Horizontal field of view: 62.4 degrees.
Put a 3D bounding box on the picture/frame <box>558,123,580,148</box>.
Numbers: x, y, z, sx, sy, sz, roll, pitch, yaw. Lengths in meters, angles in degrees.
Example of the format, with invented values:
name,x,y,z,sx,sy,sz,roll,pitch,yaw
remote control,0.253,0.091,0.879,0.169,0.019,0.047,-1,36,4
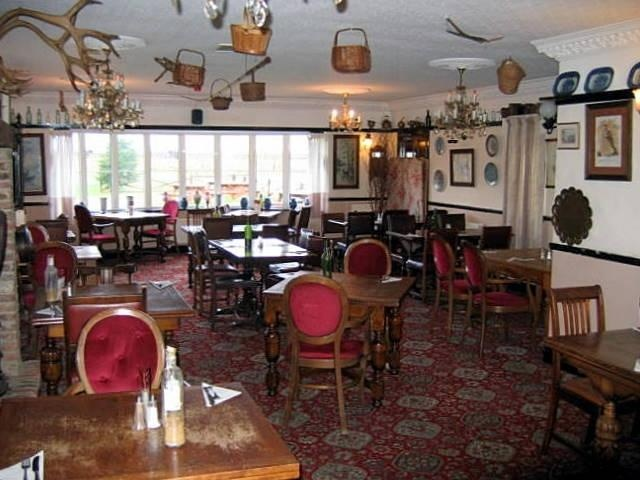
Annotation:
name,x,y,z,sx,sy,sz,roll,pitch,yaw
picture/frame,2.517,-1.059,5.340,0.033,0.299,0.274,-2,7,-33

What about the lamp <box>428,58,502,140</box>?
name,x,y,z,sx,sy,sz,roll,pitch,yaw
lamp,1.924,-1.857,7.159,0.869,1.009,0.877,9,18,38

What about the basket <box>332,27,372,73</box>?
name,x,y,z,sx,sy,sz,roll,pitch,yaw
basket,0.273,-1.599,4.496,0.348,0.343,0.334,-4,15,-18

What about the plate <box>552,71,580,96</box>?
name,x,y,z,sx,sy,sz,roll,pitch,yaw
plate,2.490,-1.589,5.366,0.092,0.251,0.277,-6,12,-28

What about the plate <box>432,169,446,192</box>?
name,x,y,z,sx,sy,sz,roll,pitch,yaw
plate,2.377,-1.196,10.563,0.085,0.488,0.504,-1,2,-21

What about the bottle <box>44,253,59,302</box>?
name,x,y,z,sx,sy,sz,roll,pitch,yaw
bottle,-2.104,0.294,4.136,0.103,0.382,0.269,-4,11,-21

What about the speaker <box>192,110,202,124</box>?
name,x,y,z,sx,sy,sz,roll,pitch,yaw
speaker,-2.467,-2.537,10.889,0.278,0.287,0.262,2,13,-3

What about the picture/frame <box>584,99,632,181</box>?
name,x,y,z,sx,sy,sz,roll,pitch,yaw
picture/frame,2.722,-0.925,4.989,0.065,0.713,0.497,-5,11,-23

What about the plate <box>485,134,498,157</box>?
name,x,y,z,sx,sy,sz,roll,pitch,yaw
plate,2.935,-1.614,9.028,0.047,0.308,0.307,3,28,-19

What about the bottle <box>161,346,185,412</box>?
name,x,y,z,sx,sy,sz,roll,pitch,yaw
bottle,-0.674,0.654,2.404,0.091,0.332,0.215,-3,11,-18

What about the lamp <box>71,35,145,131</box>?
name,x,y,z,sx,sy,sz,roll,pitch,yaw
lamp,-2.599,-1.882,6.472,0.740,1.043,0.729,-7,18,-38

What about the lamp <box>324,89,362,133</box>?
name,x,y,z,sx,sy,sz,roll,pitch,yaw
lamp,0.417,-2.113,8.677,0.575,0.589,0.563,-12,19,-41

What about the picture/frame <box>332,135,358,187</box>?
name,x,y,z,sx,sy,sz,roll,pitch,yaw
picture/frame,0.594,-1.790,12.132,0.641,1.191,0.143,-4,12,-21

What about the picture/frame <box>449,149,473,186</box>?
name,x,y,z,sx,sy,sz,roll,pitch,yaw
picture/frame,2.632,-1.363,9.829,0.055,0.731,0.716,-5,7,-23

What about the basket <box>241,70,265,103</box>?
name,x,y,z,sx,sy,sz,roll,pitch,yaw
basket,-0.874,-1.971,6.779,0.264,0.349,0.295,2,10,9

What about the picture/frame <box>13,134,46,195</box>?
name,x,y,z,sx,sy,sz,roll,pitch,yaw
picture/frame,-5.632,-1.480,10.398,0.400,1.223,0.219,-1,11,-7

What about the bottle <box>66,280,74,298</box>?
name,x,y,z,sx,sy,sz,roll,pitch,yaw
bottle,-1.960,0.388,4.138,0.065,0.109,0.117,-2,4,-25

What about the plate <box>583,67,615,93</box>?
name,x,y,z,sx,sy,sz,roll,pitch,yaw
plate,2.667,-1.535,5.062,0.055,0.231,0.283,-4,11,-21

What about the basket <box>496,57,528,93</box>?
name,x,y,z,sx,sy,sz,roll,pitch,yaw
basket,1.947,-1.640,5.438,0.383,0.453,0.193,4,11,12
